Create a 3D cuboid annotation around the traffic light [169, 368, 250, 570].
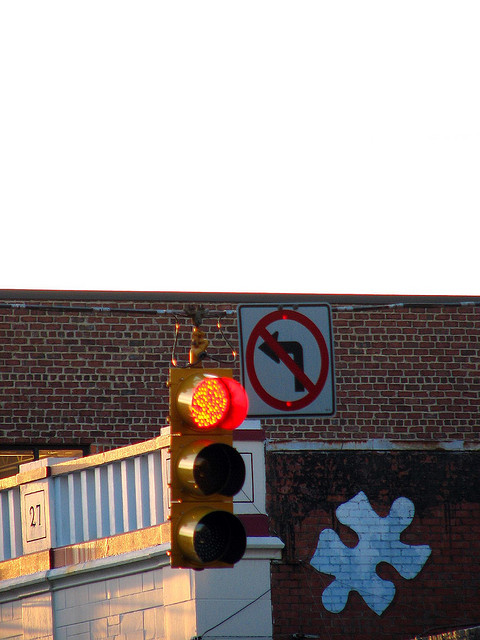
[{"bbox_3d":[-0.217,1.017,10.624,0.531,1.318,0.529,0,14,-2],"label":"traffic light"}]
